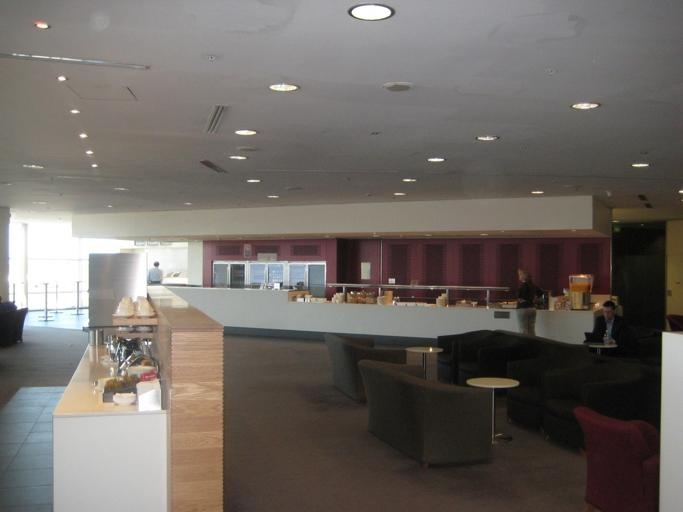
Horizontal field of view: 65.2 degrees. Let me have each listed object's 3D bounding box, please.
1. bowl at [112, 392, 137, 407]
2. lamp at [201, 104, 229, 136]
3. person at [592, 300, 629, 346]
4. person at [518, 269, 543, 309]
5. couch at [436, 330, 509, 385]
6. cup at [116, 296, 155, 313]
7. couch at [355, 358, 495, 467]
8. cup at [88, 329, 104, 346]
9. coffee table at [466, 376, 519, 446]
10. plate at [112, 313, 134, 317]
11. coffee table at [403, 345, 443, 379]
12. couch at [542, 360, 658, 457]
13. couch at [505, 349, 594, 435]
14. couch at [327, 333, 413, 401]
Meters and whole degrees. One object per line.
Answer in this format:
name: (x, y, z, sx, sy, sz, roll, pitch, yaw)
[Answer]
bowl: (-1.444, 0.942, 3.511, 0.179, 0.067, 0.127, 0, 1, 1)
lamp: (-1.308, -1.437, 5.564, 0.197, 0.092, 0.867, 3, -13, -18)
person: (4.148, 1.152, 8.333, 0.547, 0.829, 0.530, -1, -8, 30)
person: (3.602, 0.640, 10.207, 0.300, 0.709, 0.545, 1, 2, 39)
couch: (2.046, 1.453, 8.249, 0.816, 0.859, 0.909, 4, -6, -23)
cup: (-1.963, 0.460, 5.106, 0.314, 0.138, 0.401, 0, -1, -33)
couch: (0.898, 1.688, 6.034, 0.955, 0.843, 1.700, -1, 1, -30)
cup: (-2.440, 0.788, 5.320, 0.159, 0.179, 0.162, 2, 5, 0)
coffee table: (1.678, 1.716, 5.926, 0.577, 0.703, 0.714, -10, -3, 41)
plate: (-1.906, 0.513, 4.677, 0.179, 0.043, 0.113, -1, 1, -27)
coffee table: (1.190, 1.528, 7.569, 0.486, 0.505, 0.472, 16, -28, -27)
couch: (2.899, 1.748, 6.001, 1.161, 0.990, 1.183, 1, -5, -1)
couch: (2.646, 1.570, 6.591, 1.030, 1.181, 0.860, 4, -4, -23)
couch: (0.338, 1.645, 8.178, 0.964, 0.881, 1.240, -2, 2, -18)
